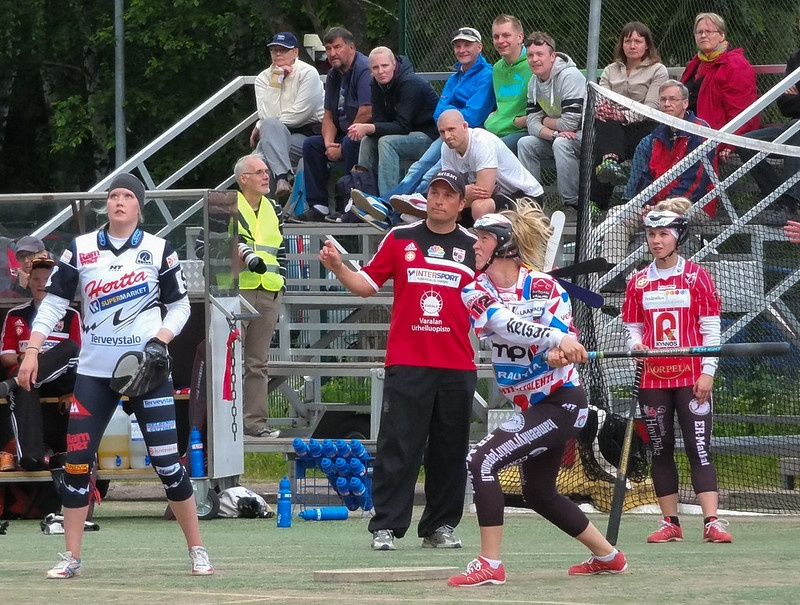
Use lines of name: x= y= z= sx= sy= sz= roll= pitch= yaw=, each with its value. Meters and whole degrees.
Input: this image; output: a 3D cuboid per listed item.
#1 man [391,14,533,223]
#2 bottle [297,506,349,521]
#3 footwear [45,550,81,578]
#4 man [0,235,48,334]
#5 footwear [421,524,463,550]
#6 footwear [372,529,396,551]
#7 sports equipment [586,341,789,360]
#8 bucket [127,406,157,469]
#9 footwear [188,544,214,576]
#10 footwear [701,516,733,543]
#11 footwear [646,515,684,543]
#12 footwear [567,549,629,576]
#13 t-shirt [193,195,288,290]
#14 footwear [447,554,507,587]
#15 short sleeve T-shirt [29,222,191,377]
man: x=0.499 y=-2.272 z=17.611 sx=1.151 sy=1.481 sz=1.299 roll=16 pitch=-3 yaw=-23
bottle: x=-0.723 y=1.946 z=15.107 sx=0.536 sy=0.150 sz=0.155 roll=1 pitch=-29 yaw=-23
footwear: x=-2.443 y=1.935 z=12.110 sx=0.123 sy=0.141 sz=0.331 roll=9 pitch=-1 yaw=23
man: x=-3.797 y=-0.236 z=16.519 sx=0.707 sy=0.868 sz=0.435 roll=0 pitch=3 yaw=8
footwear: x=0.354 y=1.918 z=13.418 sx=0.321 sy=0.171 sz=0.153 roll=-4 pitch=-7 yaw=19
footwear: x=-0.126 y=1.902 z=13.194 sx=0.189 sy=0.155 sz=0.160 roll=0 pitch=-2 yaw=-2
sports equipment: x=2.234 y=0.368 z=12.820 sx=1.712 sy=0.126 sz=0.133 roll=-5 pitch=-3 yaw=10
bucket: x=-2.415 y=1.343 z=16.004 sx=0.348 sy=0.515 sz=0.334 roll=-5 pitch=-6 yaw=-1
footwear: x=-1.457 y=1.893 z=12.133 sx=0.169 sy=0.201 sz=0.243 roll=1 pitch=-2 yaw=-7
footwear: x=2.608 y=1.850 z=13.421 sx=0.234 sy=0.200 sz=0.229 roll=0 pitch=-2 yaw=14
footwear: x=2.205 y=1.858 z=13.503 sx=0.335 sy=0.204 sz=0.256 roll=0 pitch=-2 yaw=-4
footwear: x=1.461 y=1.879 z=11.863 sx=0.478 sy=0.184 sz=0.160 roll=0 pitch=-2 yaw=-2
t-shirt: x=-1.614 y=-0.593 z=16.270 sx=1.017 sy=1.018 sz=0.601 roll=1 pitch=-5 yaw=-45
footwear: x=0.583 y=1.908 z=11.657 sx=0.468 sy=0.188 sz=0.163 roll=1 pitch=-11 yaw=-7
short sleeve T-shirt: x=-2.175 y=-0.027 z=12.340 sx=1.247 sy=1.008 sz=0.656 roll=2 pitch=11 yaw=0
